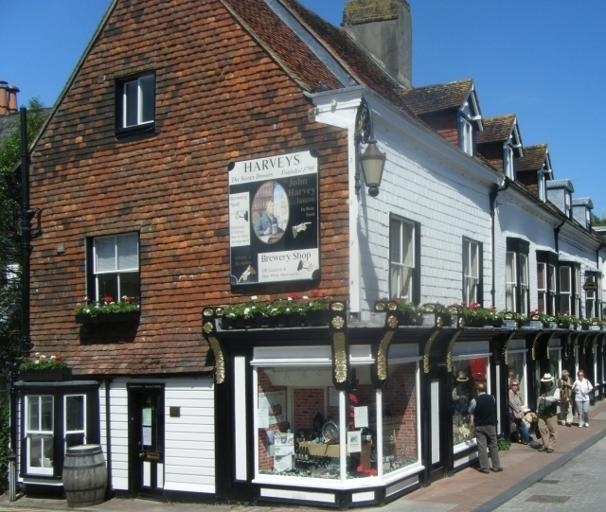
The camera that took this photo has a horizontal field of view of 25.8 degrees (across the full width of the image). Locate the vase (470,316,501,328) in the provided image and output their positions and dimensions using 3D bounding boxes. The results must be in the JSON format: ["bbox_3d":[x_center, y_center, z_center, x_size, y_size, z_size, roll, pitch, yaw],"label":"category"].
[{"bbox_3d":[4.880,1.785,35.299,0.109,0.239,1.500,8,1,35],"label":"vase"}]

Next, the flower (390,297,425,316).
[{"bbox_3d":[2.456,1.219,31.084,0.497,0.229,0.487,11,0,-38],"label":"flower"}]

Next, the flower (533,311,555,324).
[{"bbox_3d":[7.274,1.885,39.924,0.553,0.235,0.444,4,2,-7],"label":"flower"}]

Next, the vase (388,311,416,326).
[{"bbox_3d":[2.291,1.487,30.818,0.156,0.357,1.310,-7,-12,27],"label":"vase"}]

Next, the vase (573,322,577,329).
[{"bbox_3d":[8.947,2.270,43.573,0.187,0.207,0.362,-1,-12,8],"label":"vase"}]

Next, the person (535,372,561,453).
[{"bbox_3d":[6.571,4.229,35.717,0.581,2.118,0.851,3,-6,-32],"label":"person"}]

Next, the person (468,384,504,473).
[{"bbox_3d":[4.594,4.337,33.393,0.716,2.236,0.366,-3,-10,8],"label":"person"}]

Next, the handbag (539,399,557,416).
[{"bbox_3d":[6.581,4.080,35.579,0.389,0.318,0.408,-3,-1,32],"label":"handbag"}]

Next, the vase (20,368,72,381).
[{"bbox_3d":[-6.442,2.987,33.009,1.254,0.336,0.349,-7,-11,21],"label":"vase"}]

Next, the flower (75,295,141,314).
[{"bbox_3d":[-4.910,1.287,33.309,1.042,0.377,0.718,-2,-6,7],"label":"flower"}]

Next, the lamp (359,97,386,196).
[{"bbox_3d":[1.606,-2.512,30.506,0.706,2.322,0.728,5,-11,-36],"label":"lamp"}]

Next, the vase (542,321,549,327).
[{"bbox_3d":[7.406,2.084,40.328,0.157,0.311,0.306,0,-3,31],"label":"vase"}]
